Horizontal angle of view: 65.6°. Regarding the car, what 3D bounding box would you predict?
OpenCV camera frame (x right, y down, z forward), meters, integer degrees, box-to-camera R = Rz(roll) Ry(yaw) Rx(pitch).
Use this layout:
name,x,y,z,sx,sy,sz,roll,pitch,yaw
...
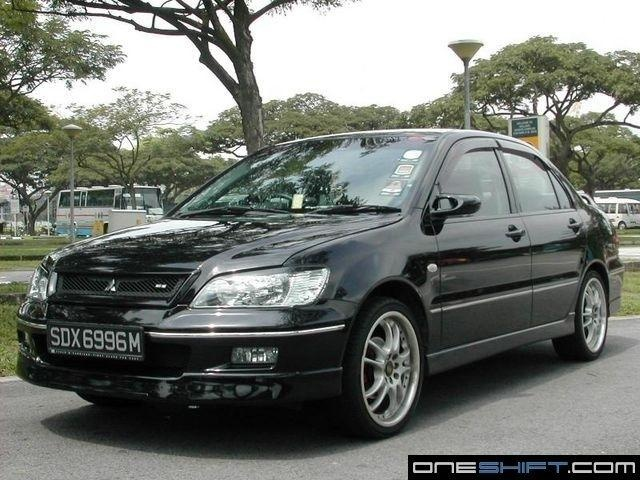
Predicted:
name,x,y,z,sx,sy,sz,roll,pitch,yaw
car,0.676,0.157,4.211,2.281,1.354,4.761,-5,-4,41
